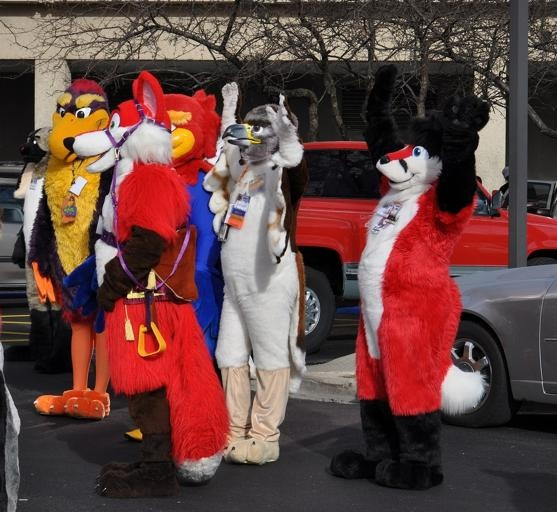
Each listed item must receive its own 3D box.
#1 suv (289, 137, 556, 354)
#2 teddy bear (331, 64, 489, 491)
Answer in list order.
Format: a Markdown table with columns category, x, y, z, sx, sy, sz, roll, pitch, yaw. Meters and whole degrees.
| category | x | y | z | sx | sy | sz | roll | pitch | yaw |
| --- | --- | --- | --- | --- | --- | --- | --- | --- | --- |
| suv | 1.761 | -0.386 | 10.209 | 3.368 | 1.382 | 1.638 | -2 | 1 | -12 |
| teddy bear | 0.789 | 0.221 | 4.984 | 0.836 | 2.238 | 0.499 | 1 | 4 | 17 |
